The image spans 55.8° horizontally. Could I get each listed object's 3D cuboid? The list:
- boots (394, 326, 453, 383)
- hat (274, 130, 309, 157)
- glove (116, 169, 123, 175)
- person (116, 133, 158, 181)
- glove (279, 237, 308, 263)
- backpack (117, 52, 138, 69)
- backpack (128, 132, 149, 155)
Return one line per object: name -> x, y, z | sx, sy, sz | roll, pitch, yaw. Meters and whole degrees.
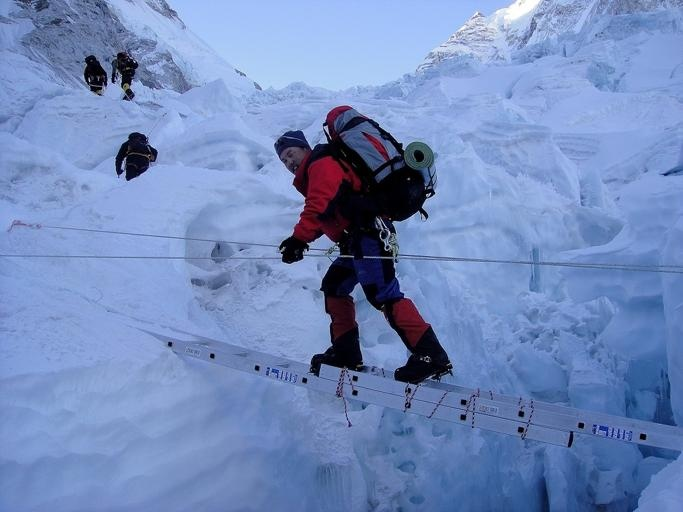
boots -> 0.654, 0.805, 4.995 | 0.565, 0.530, 0.274 | -1, -4, 5
hat -> -0.413, -0.962, 5.398 | 0.270, 0.211, 0.193 | -1, -15, -14
glove -> -2.890, -1.100, 8.436 | 0.061, 0.023, 0.077 | -6, -11, -14
person -> -2.626, -1.181, 8.348 | 0.472, 0.991, 0.348 | 8, -37, -23
glove -> -0.368, -0.054, 4.979 | 0.213, 0.205, 0.225 | 1, 2, -9
backpack -> -4.225, -3.881, 12.779 | 0.329, 0.322, 0.526 | 0, 2, -26
backpack -> -2.643, -1.498, 8.411 | 0.237, 0.296, 0.123 | 4, -33, -31
